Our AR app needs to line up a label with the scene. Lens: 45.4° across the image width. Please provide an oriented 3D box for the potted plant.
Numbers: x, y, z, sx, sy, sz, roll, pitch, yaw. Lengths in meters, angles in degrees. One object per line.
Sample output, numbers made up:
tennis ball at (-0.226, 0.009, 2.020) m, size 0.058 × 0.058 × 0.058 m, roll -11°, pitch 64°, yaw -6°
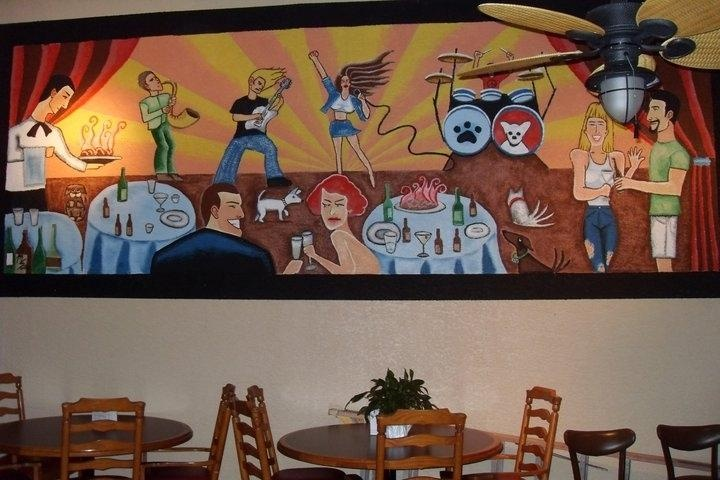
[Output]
potted plant at (0.278, 1.463, 7.618) m, size 0.888 × 0.564 × 0.693 m, roll 10°, pitch -7°, yaw -44°

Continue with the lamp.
lamp at (2.041, -1.209, 6.878) m, size 0.591 × 0.543 × 0.577 m, roll 0°, pitch -7°, yaw 0°
